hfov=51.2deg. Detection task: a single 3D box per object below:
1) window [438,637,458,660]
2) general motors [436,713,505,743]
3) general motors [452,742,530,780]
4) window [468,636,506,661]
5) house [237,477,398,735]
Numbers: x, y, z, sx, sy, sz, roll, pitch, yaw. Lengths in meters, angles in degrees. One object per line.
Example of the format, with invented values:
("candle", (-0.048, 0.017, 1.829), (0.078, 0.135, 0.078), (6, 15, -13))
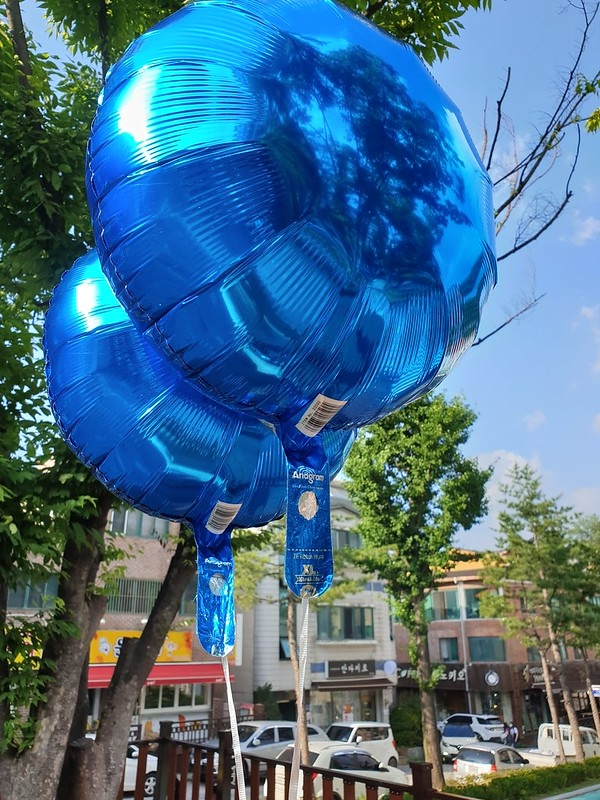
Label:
("window", (8.153, 13.667, 34.442), (0.158, 1.315, 1.174), (20, -28, -41))
("general motors", (7.732, 14.495, 28.034), (2.686, 1.088, 1.278), (-11, -34, 27))
("general motors", (5.252, 10.104, 17.619), (1.561, 0.668, 2.056), (-19, -31, 32))
("window", (9.833, 13.170, 33.143), (2.024, 1.290, 0.396), (-18, -32, 31))
("house", (1.225, 10.262, 31.172), (5.541, 8.874, 7.660), (2, -19, -11))
